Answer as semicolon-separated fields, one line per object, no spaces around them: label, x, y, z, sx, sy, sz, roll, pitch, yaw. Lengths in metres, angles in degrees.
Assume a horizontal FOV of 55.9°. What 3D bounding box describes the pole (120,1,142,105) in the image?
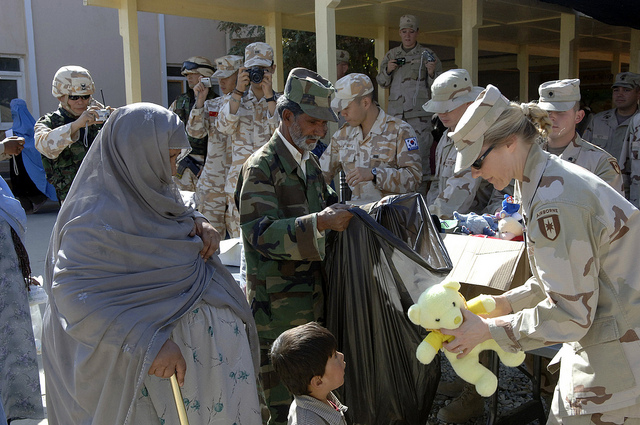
pole;-2.632;-2.224;8.395;0.237;1.410;0.720;-4;12;-16

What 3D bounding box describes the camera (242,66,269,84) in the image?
camera;-0.756;-1.586;6.941;0.256;0.142;0.186;-1;21;-7

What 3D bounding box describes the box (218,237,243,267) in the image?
box;-0.764;0.332;5.224;0.234;0.231;0.328;1;0;-36

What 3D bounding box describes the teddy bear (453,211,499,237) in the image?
teddy bear;1.248;0.085;4.807;0.244;0.094;0.205;3;42;7

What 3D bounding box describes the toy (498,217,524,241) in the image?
toy;1.422;0.125;4.560;0.157;0.178;0.136;-15;19;44

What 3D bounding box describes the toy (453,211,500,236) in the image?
toy;1.253;0.090;4.801;0.256;0.088;0.187;3;36;7

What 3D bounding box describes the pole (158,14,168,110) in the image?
pole;-4.288;-4.095;16.363;0.203;2.402;0.403;-4;12;-14

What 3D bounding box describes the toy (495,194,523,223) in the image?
toy;1.486;-0.057;4.689;0.214;0.119;0.339;-10;34;-4

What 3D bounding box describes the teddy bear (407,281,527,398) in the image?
teddy bear;0.817;0.688;3.386;0.545;0.602;0.498;-20;38;20

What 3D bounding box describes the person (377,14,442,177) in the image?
person;1.249;-1.579;8.846;0.999;2.556;0.727;3;1;32

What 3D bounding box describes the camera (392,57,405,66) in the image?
camera;1.132;-2.172;8.663;0.142;0.097;0.106;0;12;2

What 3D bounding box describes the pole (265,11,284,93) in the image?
pole;-0.739;-2.578;9.712;0.257;1.256;0.595;-2;11;-4

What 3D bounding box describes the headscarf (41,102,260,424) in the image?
headscarf;-1.086;0.339;3.579;1.127;1.920;0.725;-7;13;-27

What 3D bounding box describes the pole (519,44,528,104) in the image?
pole;4.691;-3.244;14.002;0.167;1.283;0.788;2;12;15
